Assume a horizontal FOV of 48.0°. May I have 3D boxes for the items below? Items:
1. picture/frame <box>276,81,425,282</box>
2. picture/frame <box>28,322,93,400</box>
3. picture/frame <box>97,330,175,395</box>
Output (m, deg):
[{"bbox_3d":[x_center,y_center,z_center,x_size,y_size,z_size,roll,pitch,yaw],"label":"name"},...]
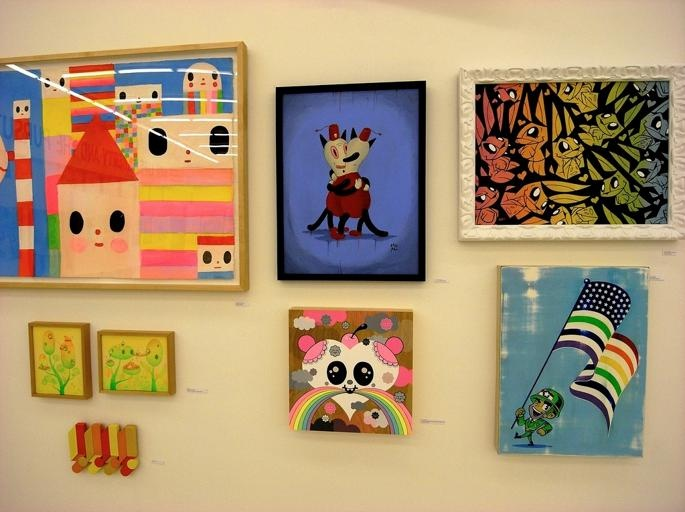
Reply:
[{"bbox_3d":[0.047,-0.277,2.677,0.622,0.914,0.030,0,2,9],"label":"picture/frame"},{"bbox_3d":[-1.026,0.378,2.778,0.240,0.328,0.051,2,0,-1],"label":"picture/frame"},{"bbox_3d":[-0.736,0.378,2.750,0.200,0.179,0.029,3,1,0],"label":"picture/frame"}]
